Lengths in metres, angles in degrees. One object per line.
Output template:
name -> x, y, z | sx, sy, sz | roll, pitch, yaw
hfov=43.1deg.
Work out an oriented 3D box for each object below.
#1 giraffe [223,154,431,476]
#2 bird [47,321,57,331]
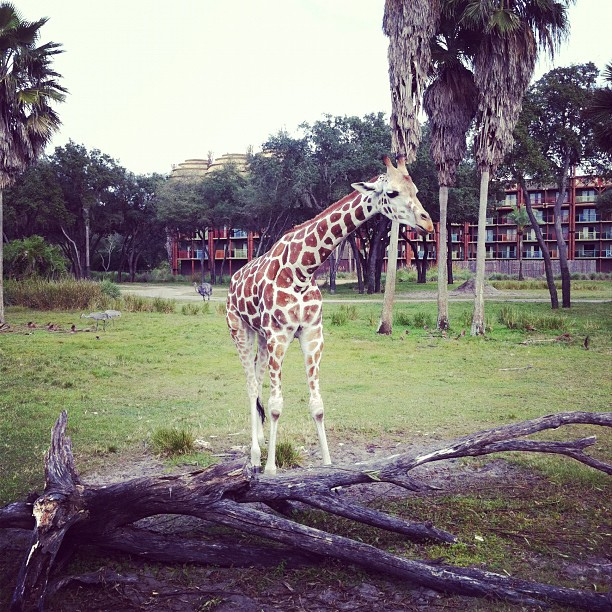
giraffe -> -0.047, 0.109, 8.731 | 1.088, 3.447, 2.694 | -1, 1, -42
bird -> -6.928, 0.519, 21.080 | 0.267, 0.190, 0.370 | 0, -9, -15
